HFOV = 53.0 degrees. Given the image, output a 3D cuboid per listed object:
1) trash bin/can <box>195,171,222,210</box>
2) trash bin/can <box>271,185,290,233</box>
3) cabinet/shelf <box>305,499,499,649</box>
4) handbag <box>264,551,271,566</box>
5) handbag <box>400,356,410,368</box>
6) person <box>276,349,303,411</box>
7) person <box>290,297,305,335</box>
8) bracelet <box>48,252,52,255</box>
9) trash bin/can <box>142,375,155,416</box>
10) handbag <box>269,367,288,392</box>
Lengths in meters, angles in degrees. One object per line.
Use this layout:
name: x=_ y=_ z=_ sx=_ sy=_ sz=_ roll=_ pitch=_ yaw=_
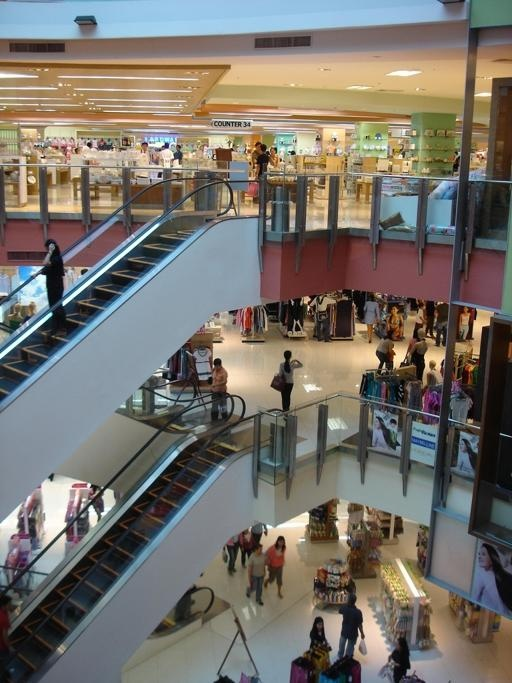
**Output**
trash bin/can: x=-0.643 y=-1.989 z=6.767 sx=0.351 sy=0.642 sz=0.931 roll=-1 pitch=8 yaw=-6
trash bin/can: x=0.297 y=-1.615 z=6.293 sx=0.232 sy=0.585 sz=0.189 roll=0 pitch=7 yaw=2
cabinet/shelf: x=2.791 y=4.015 z=9.252 sx=1.919 sy=0.974 sz=2.702 roll=1 pitch=24 yaw=3
handbag: x=0.203 y=3.939 z=9.306 sx=0.064 sy=0.213 sz=0.148 roll=4 pitch=-4 yaw=-38
handbag: x=3.296 y=0.457 z=11.360 sx=0.194 sy=0.072 sz=0.193 roll=20 pitch=1 yaw=-41
person: x=0.621 y=0.758 z=9.405 sx=0.419 sy=1.182 sz=0.378 roll=2 pitch=23 yaw=3
person: x=1.179 y=-0.742 z=15.367 sx=0.428 sy=1.057 sz=0.328 roll=0 pitch=7 yaw=2
bracelet: x=-2.384 y=-1.015 z=5.917 sx=0.039 sy=0.022 sz=0.039 roll=2 pitch=16 yaw=3
trash bin/can: x=-1.886 y=0.980 z=8.969 sx=0.222 sy=0.519 sz=0.481 roll=-2 pitch=7 yaw=-12
handbag: x=0.406 y=0.719 z=9.066 sx=0.238 sy=0.363 sz=0.615 roll=0 pitch=8 yaw=2
